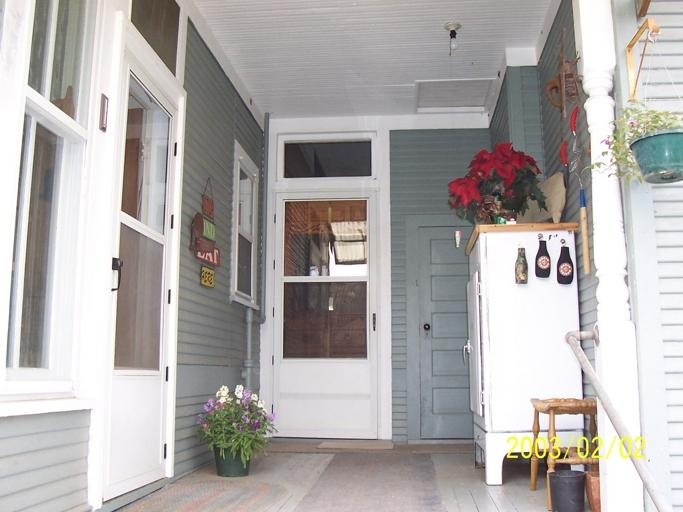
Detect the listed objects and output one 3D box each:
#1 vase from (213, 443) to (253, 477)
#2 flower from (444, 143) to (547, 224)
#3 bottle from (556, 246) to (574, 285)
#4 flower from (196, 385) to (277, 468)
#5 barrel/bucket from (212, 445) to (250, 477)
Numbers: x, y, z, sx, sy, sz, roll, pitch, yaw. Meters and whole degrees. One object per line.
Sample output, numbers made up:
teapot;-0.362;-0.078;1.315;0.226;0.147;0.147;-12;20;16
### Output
vase;-0.901;1.652;4.294;0.239;0.202;0.227;3;-5;-11
flower;1.311;-0.602;4.510;0.689;0.651;0.706;2;14;42
bottle;1.710;0.066;4.005;0.120;0.293;0.068;-2;-10;14
flower;-0.882;1.424;4.501;0.639;0.708;0.672;6;-14;-13
barrel/bucket;-0.903;1.650;4.288;0.242;0.201;0.224;2;-6;0
